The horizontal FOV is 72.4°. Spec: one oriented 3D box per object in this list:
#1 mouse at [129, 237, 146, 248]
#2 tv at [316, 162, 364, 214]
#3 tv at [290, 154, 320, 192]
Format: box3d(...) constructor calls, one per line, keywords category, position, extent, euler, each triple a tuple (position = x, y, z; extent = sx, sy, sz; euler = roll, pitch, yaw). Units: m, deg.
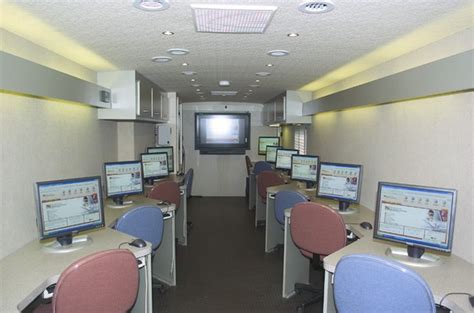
box3d(category="mouse", position=(-0.985, 0.840, 3.203), extent=(0.148, 0.041, 0.077), euler=(7, 10, 25))
box3d(category="tv", position=(1.317, 0.403, 4.166), extent=(0.716, 0.697, 0.365), euler=(2, 6, 39))
box3d(category="tv", position=(1.093, 0.253, 5.186), extent=(0.658, 0.615, 0.311), euler=(2, 1, 38))
